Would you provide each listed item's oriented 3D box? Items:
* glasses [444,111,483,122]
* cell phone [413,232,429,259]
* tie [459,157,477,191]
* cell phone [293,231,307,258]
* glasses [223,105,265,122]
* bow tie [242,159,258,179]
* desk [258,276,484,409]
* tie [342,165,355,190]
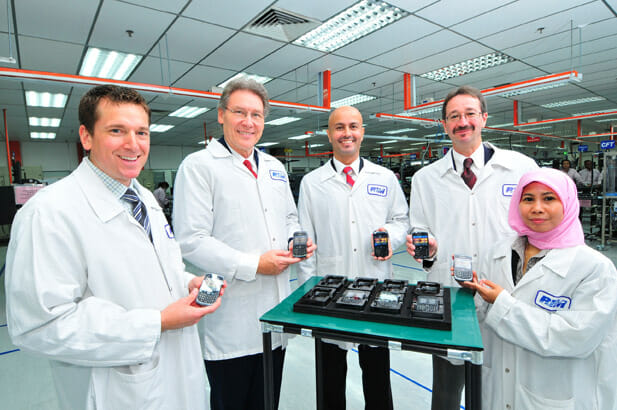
[{"bbox_3d":[1.195,-0.678,2.830,0.254,0.064,0.068,0,4,14],"label":"glasses"},{"bbox_3d":[0.849,0.296,2.767,0.118,0.204,0.157,0,5,19],"label":"cell phone"},{"bbox_3d":[1.261,-0.242,2.878,0.140,0.220,0.059,-14,-16,19],"label":"tie"},{"bbox_3d":[-0.061,0.278,2.547,0.098,0.182,0.075,-1,5,-3],"label":"cell phone"},{"bbox_3d":[-0.449,-0.642,2.648,0.300,0.096,0.132,-2,4,-17],"label":"glasses"},{"bbox_3d":[-0.414,-0.253,2.708,0.055,0.203,0.025,-42,12,-20],"label":"bow tie"},{"bbox_3d":[0.471,0.671,2.558,1.346,1.091,0.940,0,3,17],"label":"desk"},{"bbox_3d":[0.332,-0.231,3.001,0.101,0.175,0.052,0,-22,5],"label":"tie"}]
